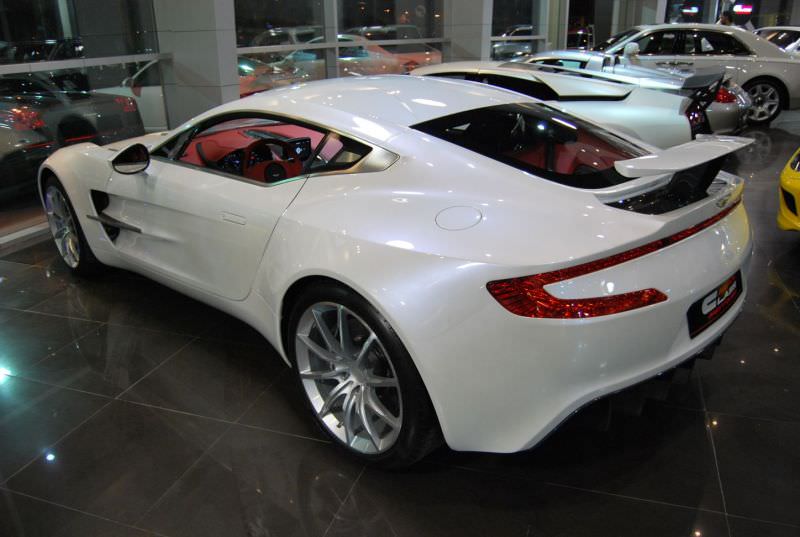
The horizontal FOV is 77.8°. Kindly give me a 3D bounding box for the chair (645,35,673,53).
[{"bbox_3d":[4.994,-4.344,9.568,0.283,0.199,0.439,9,38,23],"label":"chair"}]

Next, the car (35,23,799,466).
[{"bbox_3d":[-0.496,-0.313,3.271,4.200,1.283,2.319,20,29,33],"label":"car"}]
